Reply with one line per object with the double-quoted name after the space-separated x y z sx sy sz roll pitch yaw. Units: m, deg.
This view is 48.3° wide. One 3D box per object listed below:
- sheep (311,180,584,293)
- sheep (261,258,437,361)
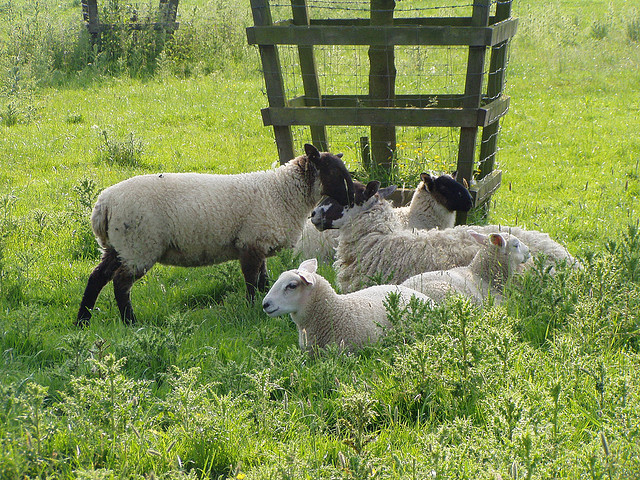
1.003 0.242 6.633 2.195 1.446 0.755 3 -9 10 "sheep"
0.287 0.550 5.524 1.354 1.156 0.603 -1 -5 1 "sheep"
